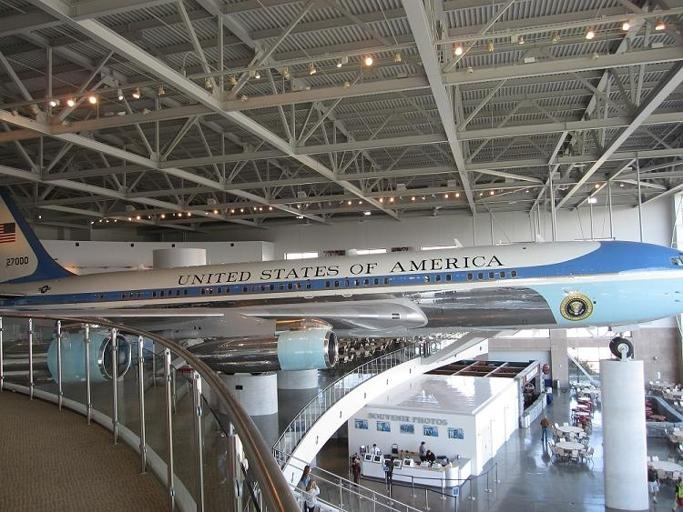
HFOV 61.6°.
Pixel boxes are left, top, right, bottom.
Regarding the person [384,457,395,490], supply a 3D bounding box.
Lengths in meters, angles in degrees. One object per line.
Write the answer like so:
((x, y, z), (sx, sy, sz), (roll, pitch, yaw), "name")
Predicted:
((1.872, 8.523, 22.562), (0.336, 1.067, 0.699), (-2, 0, 3), "person")
